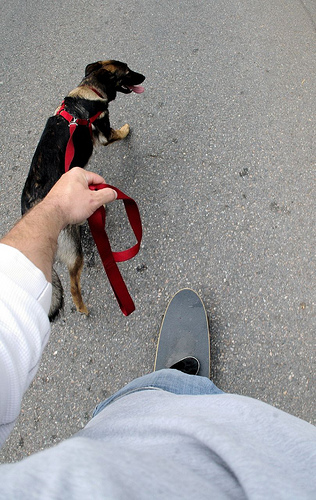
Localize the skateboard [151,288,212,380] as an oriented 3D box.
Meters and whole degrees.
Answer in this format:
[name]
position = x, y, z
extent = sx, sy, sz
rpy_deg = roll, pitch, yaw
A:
[skateboard]
position = 0.122, 0.404, 2.134
extent = 0.210, 0.664, 0.092
rpy_deg = -4, 40, -1
